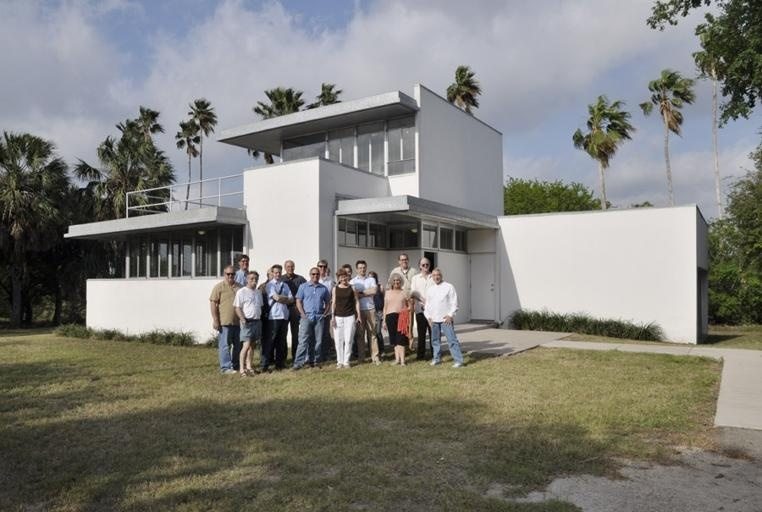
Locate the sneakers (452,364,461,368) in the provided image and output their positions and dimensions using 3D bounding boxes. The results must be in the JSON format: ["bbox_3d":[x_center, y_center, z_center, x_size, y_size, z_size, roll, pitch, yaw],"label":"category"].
[{"bbox_3d":[1.848,2.677,15.339,0.181,0.079,0.172,1,14,6],"label":"sneakers"}]
